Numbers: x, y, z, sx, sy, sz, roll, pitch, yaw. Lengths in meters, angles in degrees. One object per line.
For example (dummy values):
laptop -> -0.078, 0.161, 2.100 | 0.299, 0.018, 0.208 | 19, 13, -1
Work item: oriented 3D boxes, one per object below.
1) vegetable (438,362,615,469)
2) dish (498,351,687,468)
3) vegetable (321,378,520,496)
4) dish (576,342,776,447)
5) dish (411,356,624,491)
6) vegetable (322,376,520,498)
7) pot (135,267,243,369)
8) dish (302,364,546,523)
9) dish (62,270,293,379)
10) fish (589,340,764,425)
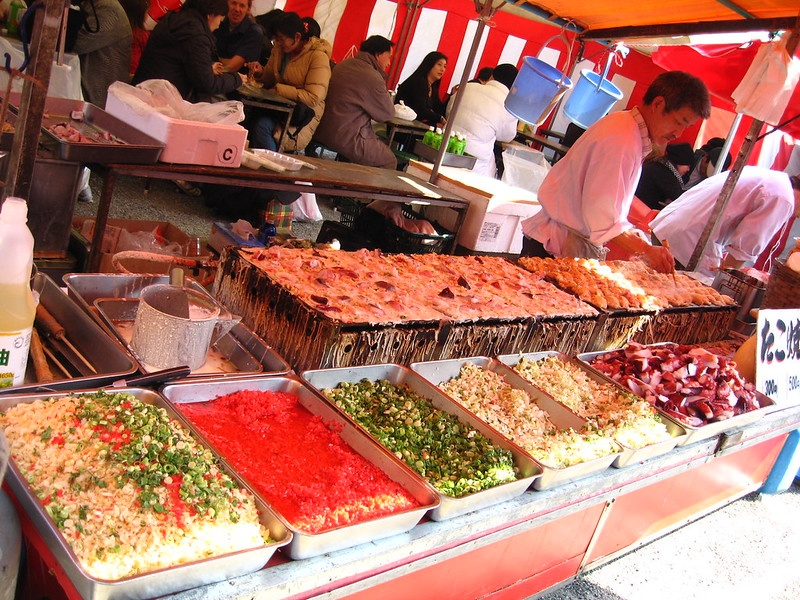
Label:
vegetable -> 0.443, 0.444, 2.080 | 0.311, 0.071, 0.512 | -5, 30, -47
dish -> 0.808, 0.497, 2.382 | 0.650, 0.109, 0.399 | 35, 26, 31
vegetable -> 0.065, 0.442, 1.843 | 0.545, 0.073, 0.313 | 33, 20, 36
dish -> 1.293, 0.288, 2.594 | 0.582, 0.099, 0.554 | -4, 21, -34
dish -> 0.448, 0.432, 2.110 | 0.404, 0.112, 0.659 | -9, 38, -45
vegetable -> 0.067, 0.440, 1.846 | 0.544, 0.074, 0.314 | 33, 19, 36
pot -> -0.646, 0.065, 1.810 | 0.346, 0.232, 0.214 | 6, 30, -50
dish -> 0.137, 0.367, 1.862 | 0.403, 0.096, 0.668 | -9, 31, -40
dish -> -0.794, 0.106, 1.943 | 0.702, 0.093, 0.405 | 35, 19, 31
fish -> 1.263, 0.378, 2.553 | 0.435, 0.112, 0.539 | 16, 22, 35
